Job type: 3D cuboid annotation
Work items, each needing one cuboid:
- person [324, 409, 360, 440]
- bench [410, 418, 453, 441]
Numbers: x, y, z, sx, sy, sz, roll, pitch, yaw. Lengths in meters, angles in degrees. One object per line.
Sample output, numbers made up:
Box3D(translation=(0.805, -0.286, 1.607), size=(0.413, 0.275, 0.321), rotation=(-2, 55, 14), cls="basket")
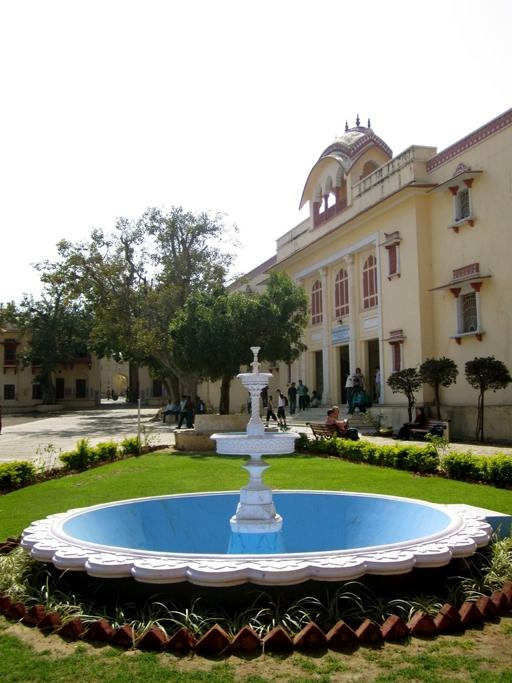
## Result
Box3D(translation=(2.227, 2.174, 15.241), size=(0.761, 0.807, 1.163), rotation=(0, -5, 1), cls="person")
Box3D(translation=(4.854, 2.540, 16.079), size=(0.840, 0.577, 2.276), rotation=(-1, -5, 4), cls="bench")
